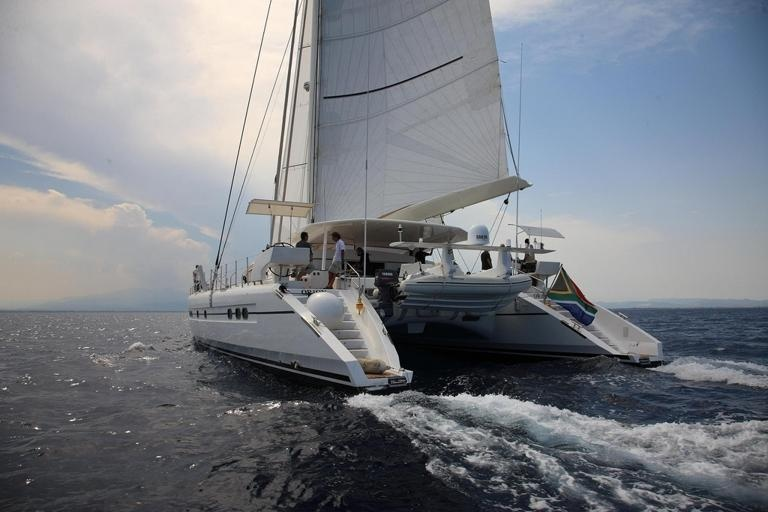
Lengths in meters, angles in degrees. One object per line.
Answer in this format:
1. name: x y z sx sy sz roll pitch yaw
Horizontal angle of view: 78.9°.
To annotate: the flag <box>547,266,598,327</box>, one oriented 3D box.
1. flag: 5.218 1.225 13.091 0.451 1.447 1.281 1 -2 -44
